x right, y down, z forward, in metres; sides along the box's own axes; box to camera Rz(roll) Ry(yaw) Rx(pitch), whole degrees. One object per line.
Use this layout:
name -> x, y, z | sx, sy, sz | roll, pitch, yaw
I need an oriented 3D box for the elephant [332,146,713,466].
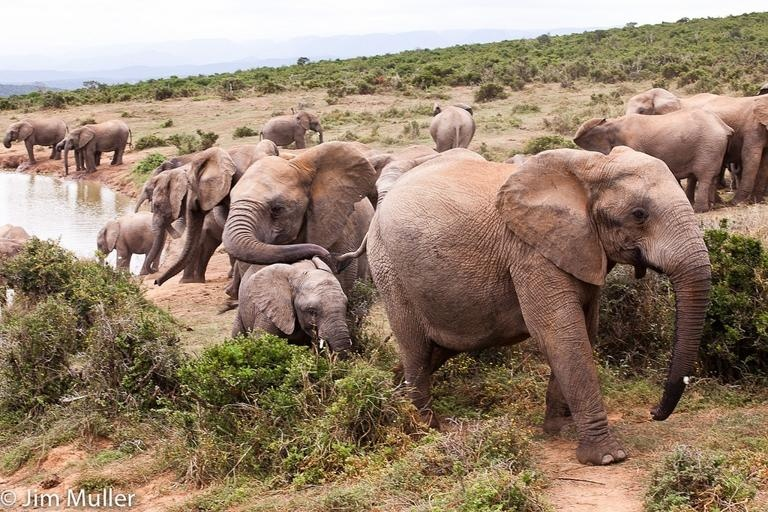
elephant -> 1.472, 0.467, 6.602 | 3.687, 2.647, 1.710 | -2, 0, 39
